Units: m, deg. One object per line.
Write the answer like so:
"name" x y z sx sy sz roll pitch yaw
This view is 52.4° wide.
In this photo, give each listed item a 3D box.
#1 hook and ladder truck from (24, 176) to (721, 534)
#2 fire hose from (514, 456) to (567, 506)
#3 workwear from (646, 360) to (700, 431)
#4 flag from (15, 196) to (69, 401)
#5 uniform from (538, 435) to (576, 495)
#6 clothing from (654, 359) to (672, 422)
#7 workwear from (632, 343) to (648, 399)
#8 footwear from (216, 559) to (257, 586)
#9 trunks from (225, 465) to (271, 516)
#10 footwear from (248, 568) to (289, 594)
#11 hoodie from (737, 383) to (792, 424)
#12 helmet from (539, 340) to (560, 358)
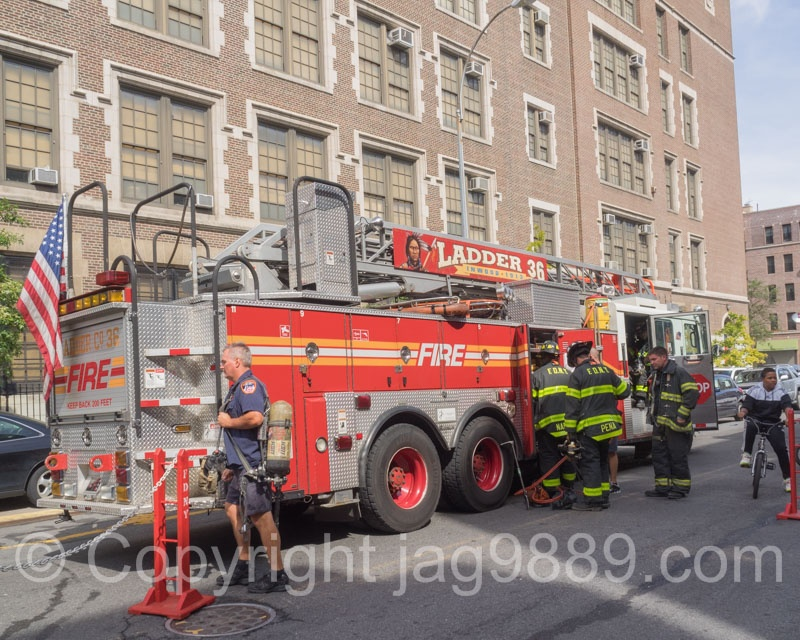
"hook and ladder truck" 0.676 0.729 13.530 3.748 4.128 11.662 -3 -4 40
"fire hose" 2.045 2.340 11.972 0.892 0.681 0.816 2 0 -43
"workwear" 4.145 1.131 12.327 0.606 1.109 0.593 1 -2 25
"flag" -4.201 -0.216 9.549 0.496 2.315 0.611 -1 -1 -26
"uniform" 2.384 2.111 11.962 0.485 1.050 0.305 4 -30 -5
"clothing" 3.948 1.129 12.293 0.188 0.785 0.492 5 -10 -13
"workwear" 4.902 1.037 16.258 0.376 1.150 0.331 -7 -5 22
"footwear" -1.643 2.578 8.260 0.476 0.308 0.177 3 -9 1
"trunks" -1.472 1.663 7.966 0.502 0.478 0.219 -3 -7 31
"footwear" -1.295 2.582 8.000 0.378 0.177 0.178 5 -8 -18
"hoodie" 5.566 1.262 12.406 0.858 0.851 0.537 -2 -20 32
"helmet" 2.257 0.426 12.411 0.216 0.180 0.275 8 -2 -26
